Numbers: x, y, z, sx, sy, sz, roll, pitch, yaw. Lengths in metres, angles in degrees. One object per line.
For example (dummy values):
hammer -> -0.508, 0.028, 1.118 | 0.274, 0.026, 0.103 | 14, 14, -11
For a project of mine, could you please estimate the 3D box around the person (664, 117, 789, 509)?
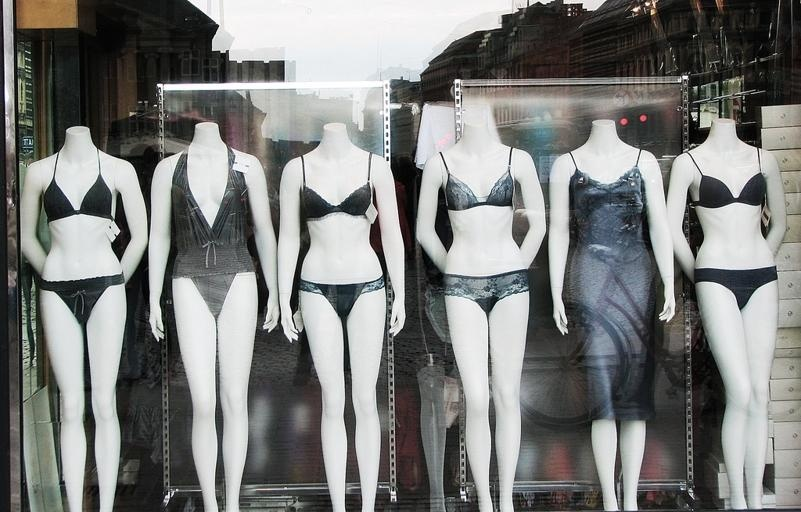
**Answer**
person -> 2.145, 0.375, 5.379 | 0.725, 2.499, 0.284 | 0, 4, 21

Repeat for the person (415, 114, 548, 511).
person -> 0.525, 0.390, 5.282 | 0.831, 2.496, 0.290 | -1, 3, 9

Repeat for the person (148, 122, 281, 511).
person -> -1.184, 0.400, 5.247 | 0.806, 2.472, 0.259 | -3, 4, -13

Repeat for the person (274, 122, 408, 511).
person -> -0.371, 0.401, 5.213 | 0.785, 2.454, 0.224 | -2, 3, -10

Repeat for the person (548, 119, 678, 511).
person -> 1.379, 0.396, 5.384 | 0.794, 2.505, 0.249 | -1, 3, 10

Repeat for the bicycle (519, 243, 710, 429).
bicycle -> 1.409, 0.465, 5.396 | 1.076, 1.101, 0.275 | 1, 6, 0

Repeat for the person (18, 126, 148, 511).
person -> -1.991, 0.412, 5.246 | 0.754, 2.424, 0.197 | -3, 4, -20
